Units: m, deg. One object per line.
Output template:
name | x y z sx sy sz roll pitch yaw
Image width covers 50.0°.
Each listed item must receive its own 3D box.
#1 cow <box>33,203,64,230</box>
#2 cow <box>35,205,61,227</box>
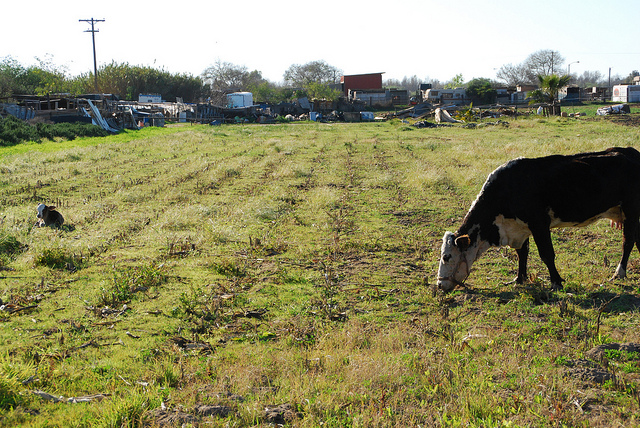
cow | -7.424 0.162 19.018 0.511 0.670 1.252 3 -6 9
cow | -7.446 0.050 18.809 0.721 0.604 0.359 -5 18 -8
